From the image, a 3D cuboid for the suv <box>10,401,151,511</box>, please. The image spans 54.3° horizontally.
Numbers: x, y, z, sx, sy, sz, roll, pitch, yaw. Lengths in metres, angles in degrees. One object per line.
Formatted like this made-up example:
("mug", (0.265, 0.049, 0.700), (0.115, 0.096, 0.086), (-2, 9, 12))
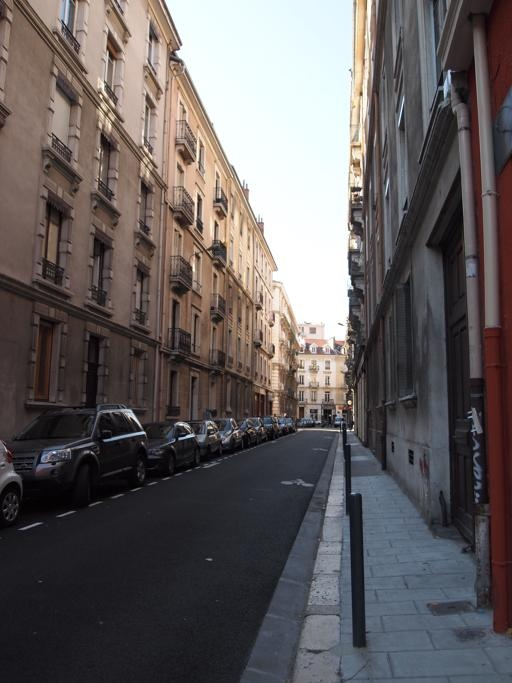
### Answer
("suv", (-3.417, 2.084, 9.640), (0.951, 1.593, 2.688), (-4, -22, 9))
